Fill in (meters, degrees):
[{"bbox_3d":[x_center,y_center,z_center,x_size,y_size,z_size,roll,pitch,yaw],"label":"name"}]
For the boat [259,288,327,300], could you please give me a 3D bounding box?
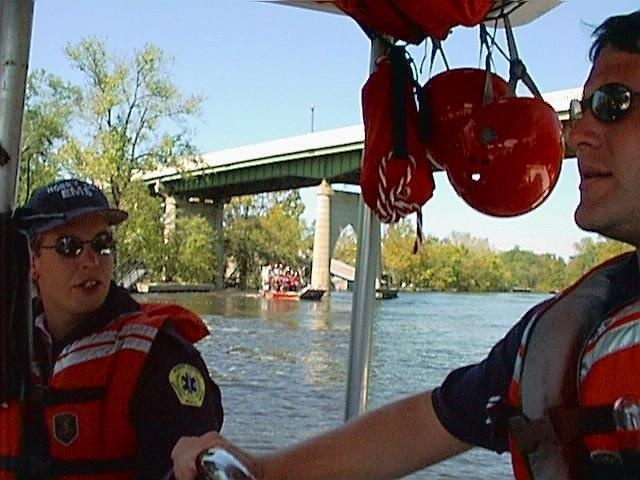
[{"bbox_3d":[-1.518,3.580,39.062,2.439,0.915,1.683,-5,-6,17],"label":"boat"}]
